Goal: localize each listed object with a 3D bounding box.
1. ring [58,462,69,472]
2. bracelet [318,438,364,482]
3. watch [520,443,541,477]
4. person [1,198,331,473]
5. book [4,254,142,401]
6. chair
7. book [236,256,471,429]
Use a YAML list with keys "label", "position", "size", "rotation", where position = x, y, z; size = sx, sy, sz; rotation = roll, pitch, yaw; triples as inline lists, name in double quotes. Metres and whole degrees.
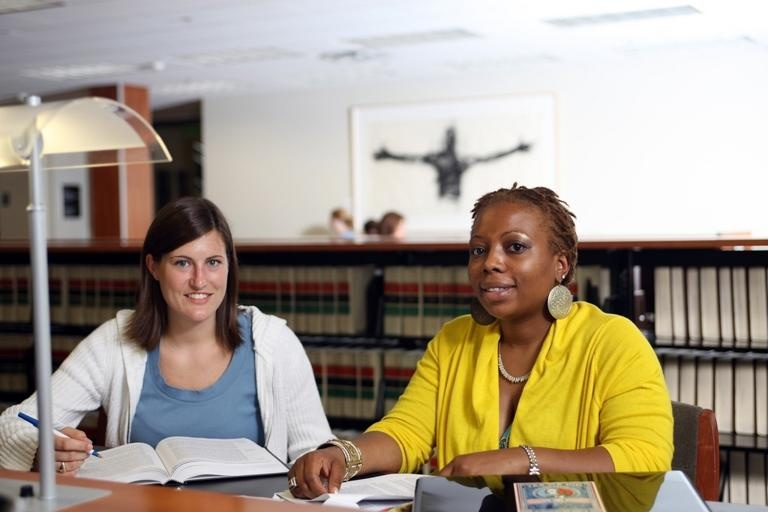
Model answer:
- label: "ring"
  position: [-1.031, 0.682, 3.056]
  size: [0.010, 0.026, 0.028]
  rotation: [-2, -2, -32]
- label: "bracelet"
  position: [-0.166, 0.676, 3.122]
  size: [0.157, 0.145, 0.098]
  rotation: [1, 2, 42]
- label: "watch"
  position: [0.472, 0.650, 2.991]
  size: [0.070, 0.065, 0.063]
  rotation: [0, -6, -8]
- label: "person"
  position: [-0.744, 0.410, 3.999]
  size: [1.667, 1.288, 0.933]
  rotation: [0, -5, -7]
- label: "book"
  position: [-1.401, 0.311, 4.359]
  size: [0.895, 0.765, 0.278]
  rotation: [-1, 0, 2]
- label: "chair"
  position: [1.046, 0.660, 3.195]
  size: [0.157, 0.305, 0.121]
  rotation: [1, 4, 25]
- label: "book"
  position: [-0.095, 0.397, 4.294]
  size: [0.892, 0.976, 0.318]
  rotation: [-3, 4, 4]
